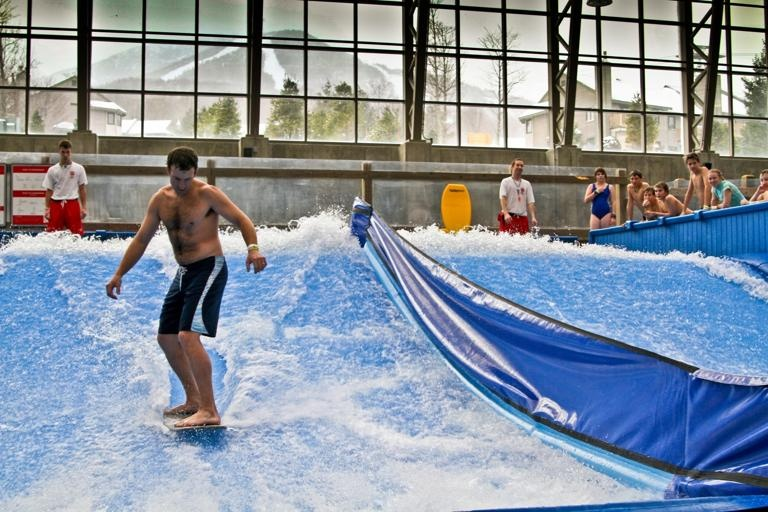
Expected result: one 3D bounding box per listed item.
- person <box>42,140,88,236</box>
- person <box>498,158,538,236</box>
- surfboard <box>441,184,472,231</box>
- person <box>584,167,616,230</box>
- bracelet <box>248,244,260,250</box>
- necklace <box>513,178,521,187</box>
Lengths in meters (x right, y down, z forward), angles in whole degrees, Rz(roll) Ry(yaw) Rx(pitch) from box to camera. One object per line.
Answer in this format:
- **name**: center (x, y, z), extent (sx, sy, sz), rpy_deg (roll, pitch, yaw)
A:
- **person**: center (-6.032, -1.306, 18.613), extent (0.750, 1.842, 0.640), rpy_deg (-1, 0, -21)
- **person**: center (2.624, -1.182, 19.368), extent (0.716, 1.252, 0.616), rpy_deg (-1, 0, -3)
- **surfboard**: center (1.524, -0.825, 20.440), extent (0.649, 1.507, 0.159), rpy_deg (0, -28, 1)
- **person**: center (4.329, -1.146, 19.634), extent (0.546, 1.002, 0.699), rpy_deg (-1, 0, 13)
- **bracelet**: center (-1.858, -0.128, 13.981), extent (0.153, 0.082, 0.178), rpy_deg (-1, 0, -12)
- **necklace**: center (2.654, -1.473, 19.403), extent (0.095, 0.149, 0.034), rpy_deg (-1, -6, -12)
